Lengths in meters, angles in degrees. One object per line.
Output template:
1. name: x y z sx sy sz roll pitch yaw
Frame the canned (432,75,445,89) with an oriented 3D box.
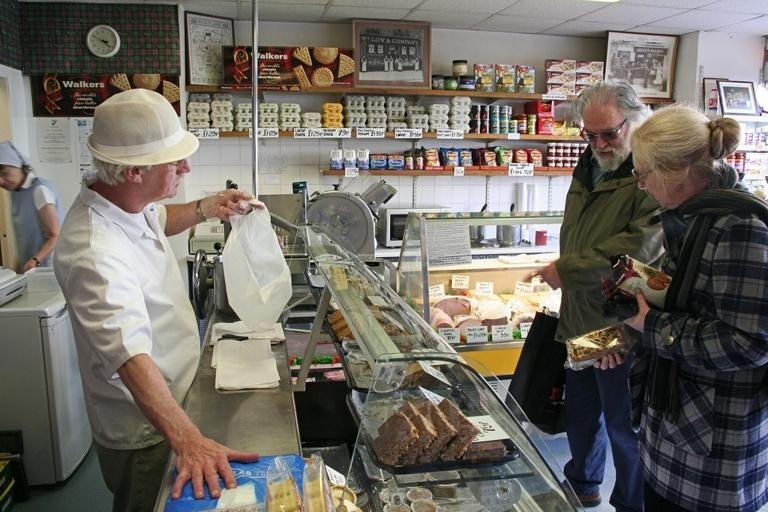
1. canned: 0.564 -1.840 5.627 0.162 0.119 0.150 -2 8 -15

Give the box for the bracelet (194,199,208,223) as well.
1. bracelet: -0.876 -0.215 2.541 0.072 0.097 0.109 4 -6 -6

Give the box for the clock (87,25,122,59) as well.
1. clock: -2.735 -2.110 5.177 0.333 0.299 0.053 4 8 -6

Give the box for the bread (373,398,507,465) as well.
1. bread: 0.173 0.507 1.552 0.318 0.106 0.180 1 6 -2

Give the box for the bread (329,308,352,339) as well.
1. bread: -0.202 0.314 2.407 0.052 0.108 0.160 17 38 -30

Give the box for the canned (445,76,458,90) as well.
1. canned: 0.710 -1.841 5.653 0.149 0.119 0.138 -2 5 -7

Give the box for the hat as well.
1. hat: -0.889 -0.459 1.967 0.354 0.157 0.327 15 29 18

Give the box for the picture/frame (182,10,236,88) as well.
1. picture/frame: -1.736 -2.074 5.306 0.441 0.713 0.230 -5 13 -12

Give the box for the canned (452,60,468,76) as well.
1. canned: 0.802 -2.021 5.763 0.196 0.162 0.183 0 9 3

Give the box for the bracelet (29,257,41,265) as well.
1. bracelet: -2.632 0.031 4.006 0.058 0.053 0.015 12 48 40

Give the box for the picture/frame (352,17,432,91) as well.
1. picture/frame: 0.037 -2.109 5.495 0.898 0.591 0.066 0 2 -13

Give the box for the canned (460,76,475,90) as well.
1. canned: 0.877 -1.847 5.665 0.161 0.115 0.150 1 6 -3
